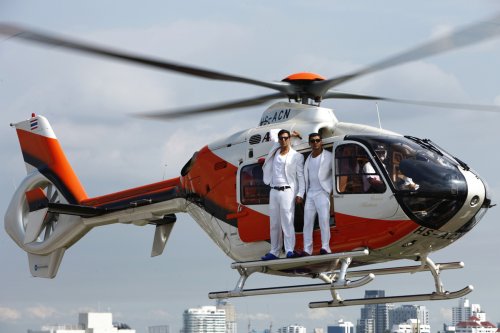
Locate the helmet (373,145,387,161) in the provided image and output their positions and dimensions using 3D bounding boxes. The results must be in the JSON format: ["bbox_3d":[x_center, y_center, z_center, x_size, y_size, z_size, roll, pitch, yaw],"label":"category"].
[{"bbox_3d":[3.069,-0.321,20.809,0.266,0.387,0.097,-3,-28,1],"label":"helmet"}]

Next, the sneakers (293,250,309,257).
[{"bbox_3d":[1.237,2.097,21.204,0.396,0.196,0.103,-9,-28,17],"label":"sneakers"}]

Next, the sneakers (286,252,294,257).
[{"bbox_3d":[0.972,2.140,21.326,0.214,0.228,0.116,0,-62,5],"label":"sneakers"}]

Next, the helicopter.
[{"bbox_3d":[-0.543,0.653,23.563,10.634,3.024,9.281,-6,-9,35],"label":"helicopter"}]

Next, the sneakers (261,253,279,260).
[{"bbox_3d":[0.489,2.242,21.591,0.479,0.162,0.142,1,-38,16],"label":"sneakers"}]

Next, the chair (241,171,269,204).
[{"bbox_3d":[0.159,0.523,22.015,1.098,0.739,0.505,0,-5,8],"label":"chair"}]
